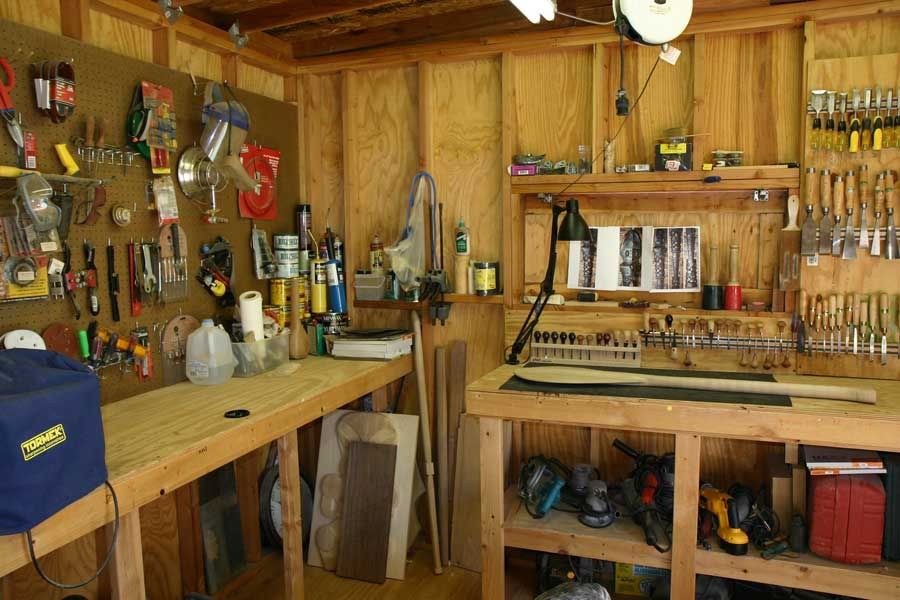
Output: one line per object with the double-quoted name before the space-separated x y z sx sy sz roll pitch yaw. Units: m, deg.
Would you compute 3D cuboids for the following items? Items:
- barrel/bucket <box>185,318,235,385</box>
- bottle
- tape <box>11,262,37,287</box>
"barrel/bucket" -1.359 0.297 4.126 0.290 0.356 0.311 6 5 0
"bottle" -0.829 -0.278 4.775 0.335 0.709 0.450 -1 7 -13
"tape" -1.996 -0.119 3.449 0.107 0.104 0.025 1 -8 -43
